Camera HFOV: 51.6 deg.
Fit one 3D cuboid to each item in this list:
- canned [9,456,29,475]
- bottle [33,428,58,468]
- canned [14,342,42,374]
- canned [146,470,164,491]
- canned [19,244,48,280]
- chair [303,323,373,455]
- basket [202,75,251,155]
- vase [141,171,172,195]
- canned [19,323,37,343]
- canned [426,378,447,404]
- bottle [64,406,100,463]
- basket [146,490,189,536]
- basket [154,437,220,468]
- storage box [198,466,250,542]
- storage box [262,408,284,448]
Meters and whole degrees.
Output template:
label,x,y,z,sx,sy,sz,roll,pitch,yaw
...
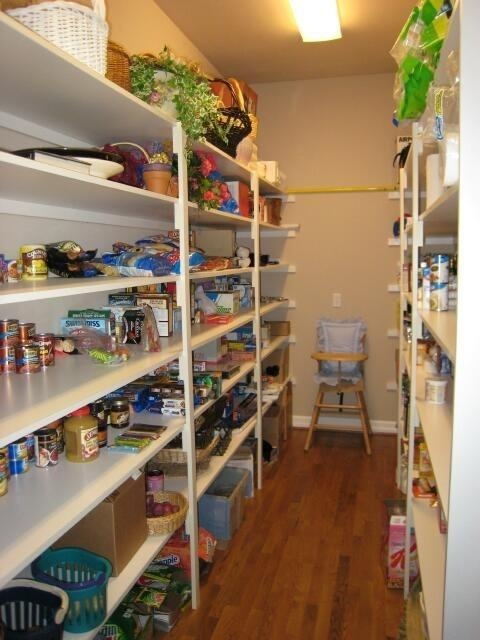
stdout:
label,x,y,z,sx,sy,sz,roll,pitch,yaw
canned,-0.582,0.385,1.306,0.044,0.044,0.040,-1,6,-20
bottle,-0.534,0.349,1.355,0.065,0.110,0.057,-1,5,-14
canned,-0.600,0.109,1.451,0.078,0.085,0.078,13,17,32
canned,-0.321,0.610,1.894,0.066,0.072,0.066,-1,2,2
canned,-0.532,-0.148,1.260,0.070,0.087,0.066,-1,5,-8
chair,0.805,0.502,3.981,0.512,0.998,0.758,1,5,14
basket,-0.047,-0.988,2.377,0.311,0.301,0.199,27,33,27
vase,-0.291,-0.457,1.685,0.092,0.069,0.093,1,5,1
canned,-0.604,0.035,1.416,0.045,0.048,0.046,-1,10,-18
canned,0.718,0.266,1.867,0.088,0.099,0.089,2,2,5
bottle,-0.455,0.325,1.427,0.090,0.151,0.089,1,8,0
basket,-0.287,0.695,1.791,0.170,0.064,0.180,-7,11,-11
basket,-0.229,0.603,2.200,0.134,0.077,0.238,2,4,27
storage box,-0.084,0.992,2.675,0.203,0.269,0.370,1,12,20
storage box,0.238,0.805,3.720,0.198,0.234,0.369,0,12,11
